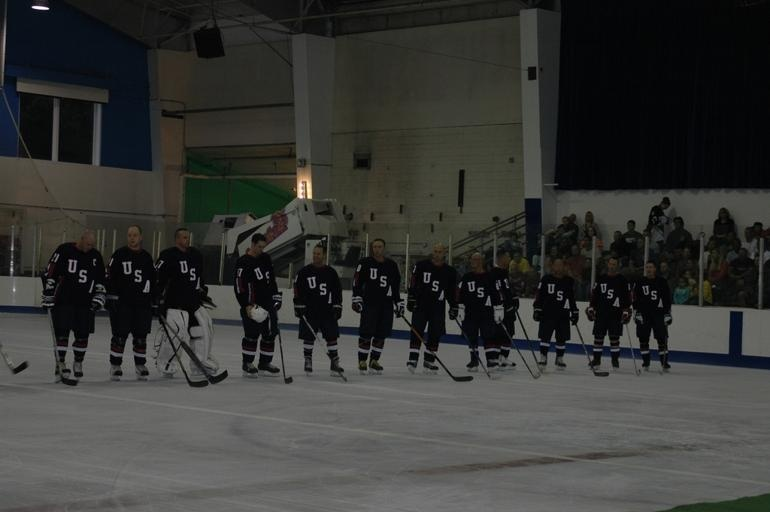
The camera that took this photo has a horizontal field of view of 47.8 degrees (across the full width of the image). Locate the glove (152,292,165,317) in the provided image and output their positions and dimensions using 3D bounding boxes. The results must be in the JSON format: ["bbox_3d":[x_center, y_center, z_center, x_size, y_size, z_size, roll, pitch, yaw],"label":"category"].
[{"bbox_3d":[-3.587,0.770,13.817,0.235,0.310,0.327,2,3,-5],"label":"glove"}]

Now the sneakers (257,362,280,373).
[{"bbox_3d":[-2.035,1.904,14.975,0.440,0.183,0.152,2,1,11],"label":"sneakers"}]

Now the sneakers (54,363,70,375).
[{"bbox_3d":[-5.024,1.768,13.600,0.218,0.210,0.162,-2,-6,44],"label":"sneakers"}]

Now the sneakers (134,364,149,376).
[{"bbox_3d":[-3.922,1.841,14.081,0.176,0.183,0.210,1,-3,-23],"label":"sneakers"}]

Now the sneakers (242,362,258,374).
[{"bbox_3d":[-2.287,1.887,14.773,0.234,0.217,0.272,0,-3,-4],"label":"sneakers"}]

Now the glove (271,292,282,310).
[{"bbox_3d":[-1.761,0.747,14.547,0.116,0.268,0.190,7,6,-33],"label":"glove"}]

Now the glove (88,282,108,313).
[{"bbox_3d":[-4.449,0.632,13.569,0.263,0.420,0.178,10,-39,-1],"label":"glove"}]

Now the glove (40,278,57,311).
[{"bbox_3d":[-5.122,0.563,13.321,0.178,0.461,0.245,1,-3,-19],"label":"glove"}]

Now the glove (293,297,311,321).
[{"bbox_3d":[-1.432,0.869,14.792,0.229,0.358,0.170,0,-3,-6],"label":"glove"}]

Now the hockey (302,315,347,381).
[{"bbox_3d":[-1.126,1.690,15.804,0.103,1.234,0.171,-33,-11,-5],"label":"hockey"}]

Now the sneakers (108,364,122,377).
[{"bbox_3d":[-4.318,1.847,13.991,0.167,0.219,0.192,1,-3,-15],"label":"sneakers"}]

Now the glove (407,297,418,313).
[{"bbox_3d":[0.422,0.854,15.455,0.185,0.241,0.308,-2,-4,32],"label":"glove"}]
